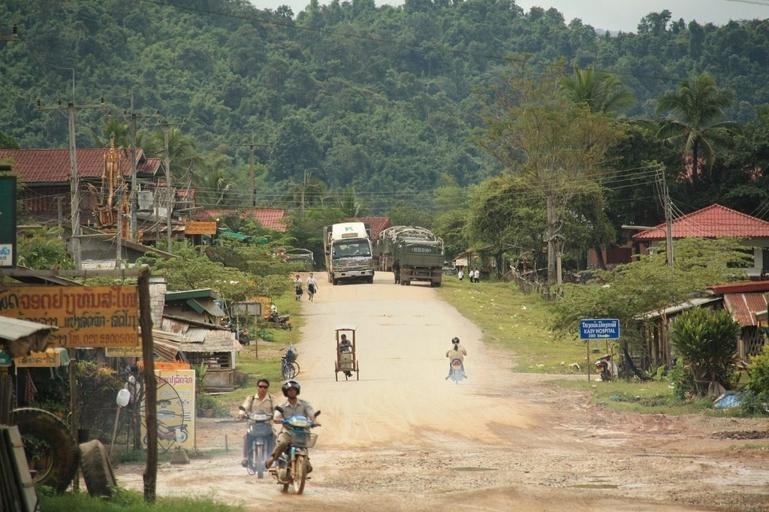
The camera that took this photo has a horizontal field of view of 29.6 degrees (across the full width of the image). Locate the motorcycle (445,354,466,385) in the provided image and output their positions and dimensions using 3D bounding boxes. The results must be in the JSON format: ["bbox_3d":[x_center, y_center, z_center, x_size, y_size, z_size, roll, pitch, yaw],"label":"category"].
[{"bbox_3d":[5.901,9.221,118.138,1.684,1.912,1.852,-2,5,14],"label":"motorcycle"}]

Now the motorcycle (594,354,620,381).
[{"bbox_3d":[17.954,8.982,117.563,1.037,1.484,2.709,2,4,19],"label":"motorcycle"}]
